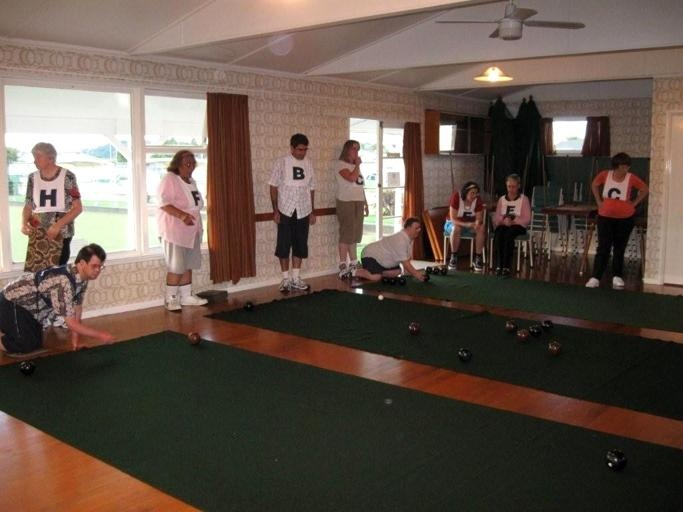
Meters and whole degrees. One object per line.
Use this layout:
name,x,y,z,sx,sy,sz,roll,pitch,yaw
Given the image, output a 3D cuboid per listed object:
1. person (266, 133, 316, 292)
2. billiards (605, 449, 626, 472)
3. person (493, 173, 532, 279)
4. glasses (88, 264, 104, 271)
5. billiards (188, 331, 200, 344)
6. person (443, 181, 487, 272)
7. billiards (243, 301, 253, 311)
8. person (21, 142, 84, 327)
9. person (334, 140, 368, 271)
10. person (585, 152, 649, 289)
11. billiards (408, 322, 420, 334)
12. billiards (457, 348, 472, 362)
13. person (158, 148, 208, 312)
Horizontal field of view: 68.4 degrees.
person,-0.707,-0.651,7.541,0.756,2.362,0.532,-4,8,-35
billiards,1.513,1.129,2.793,0.096,0.057,0.097,-11,25,-2
person,2.733,-0.507,8.308,0.606,1.734,0.703,1,2,25
glasses,-2.180,0.096,4.449,0.088,0.053,0.101,-1,-7,-32
billiards,-1.457,0.804,4.945,0.101,0.098,0.102,0,20,-3
person,2.151,-0.550,8.795,0.669,1.477,1.029,2,9,14
billiards,-1.161,0.636,6.207,0.098,0.114,0.100,21,26,9
person,-3.127,-0.299,5.435,0.578,1.798,0.532,5,19,-12
person,0.184,-0.834,8.527,0.510,2.251,0.750,-4,-3,28
person,3.927,-0.520,7.313,0.864,1.934,0.562,-4,10,-23
billiards,0.740,0.739,5.145,0.120,0.106,0.111,8,12,41
billiards,1.086,0.864,4.434,0.088,0.106,0.114,3,53,9
person,-2.002,-0.324,6.549,0.619,2.055,0.798,4,10,16
